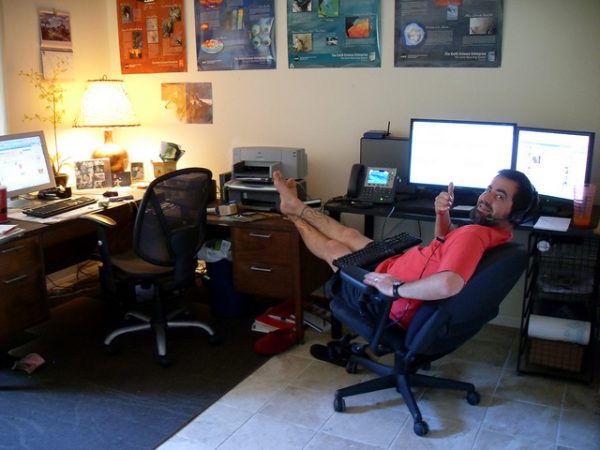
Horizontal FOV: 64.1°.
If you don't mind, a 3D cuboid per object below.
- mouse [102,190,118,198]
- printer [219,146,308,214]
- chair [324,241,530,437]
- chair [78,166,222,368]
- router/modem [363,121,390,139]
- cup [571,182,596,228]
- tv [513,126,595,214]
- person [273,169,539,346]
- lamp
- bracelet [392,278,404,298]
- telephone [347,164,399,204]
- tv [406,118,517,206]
[{"bbox_3d":[-1.377,-0.223,3.471,0.099,0.031,0.053,-6,14,-28],"label":"mouse"},{"bbox_3d":[-0.254,-0.349,3.361,0.509,0.377,0.509,6,17,17],"label":"printer"},{"bbox_3d":[0.647,0.491,2.530,0.823,0.973,0.868,-6,17,-45],"label":"chair"},{"bbox_3d":[-0.949,0.219,3.213,0.724,1.143,0.768,8,12,28],"label":"chair"},{"bbox_3d":[0.540,-0.676,3.325,0.161,0.099,0.155,2,16,13],"label":"router/modem"},{"bbox_3d":[1.569,-0.113,2.642,0.105,0.217,0.176,8,20,29],"label":"cup"},{"bbox_3d":[1.438,-0.295,2.692,0.457,0.519,0.176,11,20,39],"label":"tv"},{"bbox_3d":[0.493,0.007,2.552,1.172,0.744,0.730,29,9,22],"label":"person"},{"bbox_3d":[-1.588,-0.791,3.973,0.525,0.740,0.502,1,9,6],"label":"lamp"},{"bbox_3d":[0.439,0.288,2.161,0.051,0.072,0.078,3,5,20],"label":"bracelet"},{"bbox_3d":[0.479,-0.300,3.183,0.336,0.116,0.329,8,47,1],"label":"telephone"},{"bbox_3d":[1.012,-0.394,2.941,0.567,0.430,0.229,6,12,22],"label":"tv"}]
